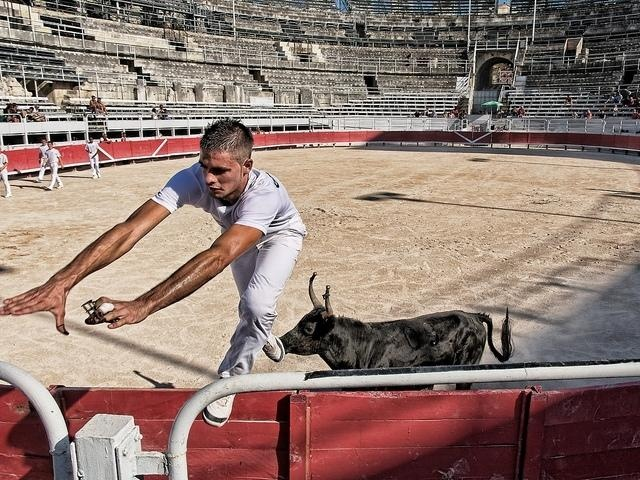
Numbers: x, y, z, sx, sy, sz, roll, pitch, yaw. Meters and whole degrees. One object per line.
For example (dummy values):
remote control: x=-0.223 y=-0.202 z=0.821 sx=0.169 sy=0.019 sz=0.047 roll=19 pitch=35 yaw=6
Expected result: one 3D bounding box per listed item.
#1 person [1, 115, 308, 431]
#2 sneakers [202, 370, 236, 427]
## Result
person: x=-0.769 y=0.206 z=3.111 sx=0.881 sy=1.765 sz=1.601 roll=11 pitch=20 yaw=24
sneakers: x=-0.530 y=0.925 z=2.922 sx=0.180 sy=0.286 sz=0.229 roll=-4 pitch=19 yaw=-17
